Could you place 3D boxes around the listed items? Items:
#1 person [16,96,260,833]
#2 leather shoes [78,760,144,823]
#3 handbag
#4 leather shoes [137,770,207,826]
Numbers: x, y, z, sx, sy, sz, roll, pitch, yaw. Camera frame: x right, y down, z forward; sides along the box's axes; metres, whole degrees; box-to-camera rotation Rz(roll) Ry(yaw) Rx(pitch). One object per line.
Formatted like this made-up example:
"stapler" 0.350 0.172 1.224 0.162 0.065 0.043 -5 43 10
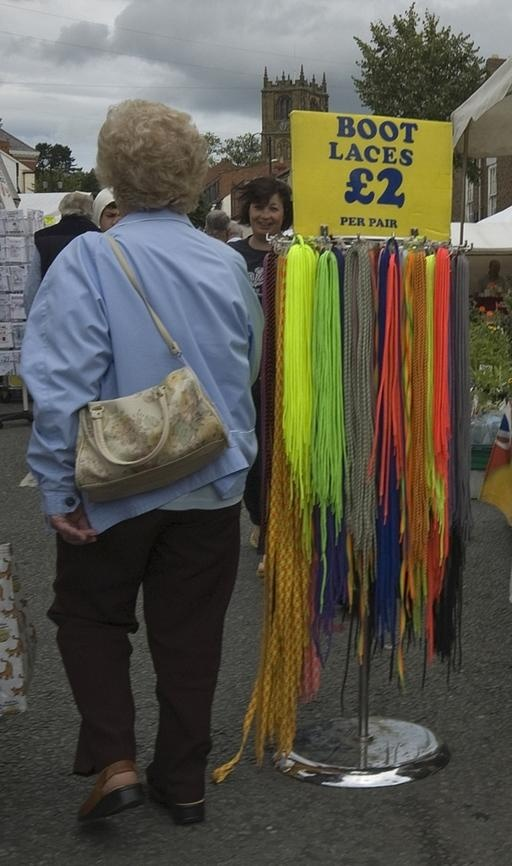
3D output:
"person" -0.249 0.085 1.918 0.624 1.781 0.395 -2 4 -19
"leather shoes" -0.363 0.833 1.823 0.085 0.098 0.224 18 -43 -36
"handbag" -0.250 0.007 1.751 0.292 0.193 0.148 -19 8 -14
"leather shoes" -0.208 0.919 2.022 0.071 0.078 0.202 -1 5 -27
